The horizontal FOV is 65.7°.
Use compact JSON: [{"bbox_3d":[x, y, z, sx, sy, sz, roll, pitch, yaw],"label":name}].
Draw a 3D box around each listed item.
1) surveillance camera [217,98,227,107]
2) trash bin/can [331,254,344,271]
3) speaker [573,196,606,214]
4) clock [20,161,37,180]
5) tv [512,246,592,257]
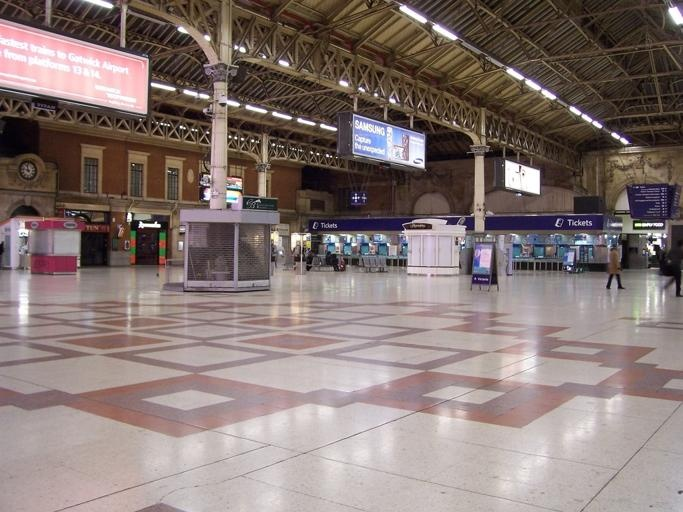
[{"bbox_3d":[-4.114,-5.264,18.211,0.274,0.189,0.269,-3,6,-22],"label":"surveillance camera"},{"bbox_3d":[-0.113,0.499,34.416,0.792,1.108,1.091,2,-8,-10],"label":"trash bin/can"},{"bbox_3d":[17.427,-3.537,37.359,1.537,0.933,1.537,0,-2,21],"label":"speaker"},{"bbox_3d":[-19.333,-5.247,32.490,0.234,0.996,1.017,2,9,35],"label":"clock"},{"bbox_3d":[15.184,-0.331,38.384,5.091,1.029,0.771,1,1,30],"label":"tv"}]
